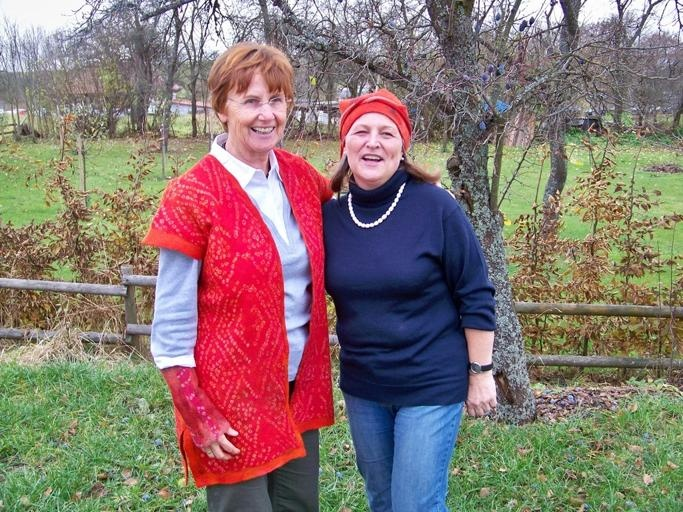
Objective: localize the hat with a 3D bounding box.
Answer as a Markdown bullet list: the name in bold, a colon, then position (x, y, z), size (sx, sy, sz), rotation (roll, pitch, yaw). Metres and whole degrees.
- **hat**: position (0.191, -0.824, 3.411), size (0.361, 0.408, 0.254), rotation (-4, 20, 9)
